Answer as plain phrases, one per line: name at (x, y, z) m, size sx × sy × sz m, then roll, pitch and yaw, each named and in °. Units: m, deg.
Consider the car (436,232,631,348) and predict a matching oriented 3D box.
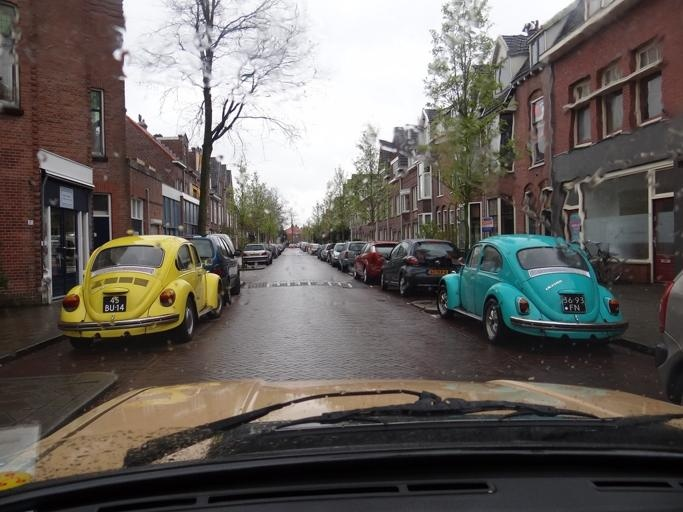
car at (2.918, 0.492, 9.078) m, size 1.429 × 1.688 × 2.986 m, roll -1°, pitch 2°, yaw -17°
